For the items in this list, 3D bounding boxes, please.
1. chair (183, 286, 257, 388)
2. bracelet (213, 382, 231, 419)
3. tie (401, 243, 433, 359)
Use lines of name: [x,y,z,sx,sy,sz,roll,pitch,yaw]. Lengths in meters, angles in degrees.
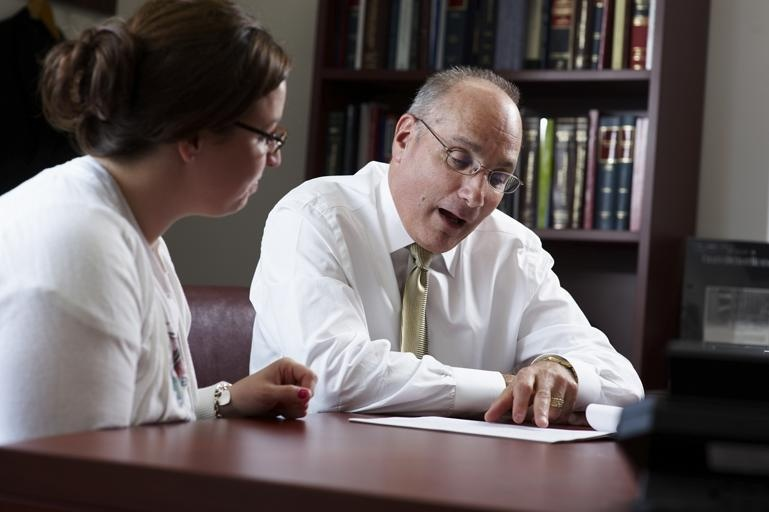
chair: [-0.622,0.292,2.442,0.171,0.330,0.325,-9,-6,25]
bracelet: [-0.363,0.316,1.612,0.019,0.062,0.059,10,-19,-20]
tie: [0.089,0.118,2.084,0.081,0.295,0.250,3,5,4]
